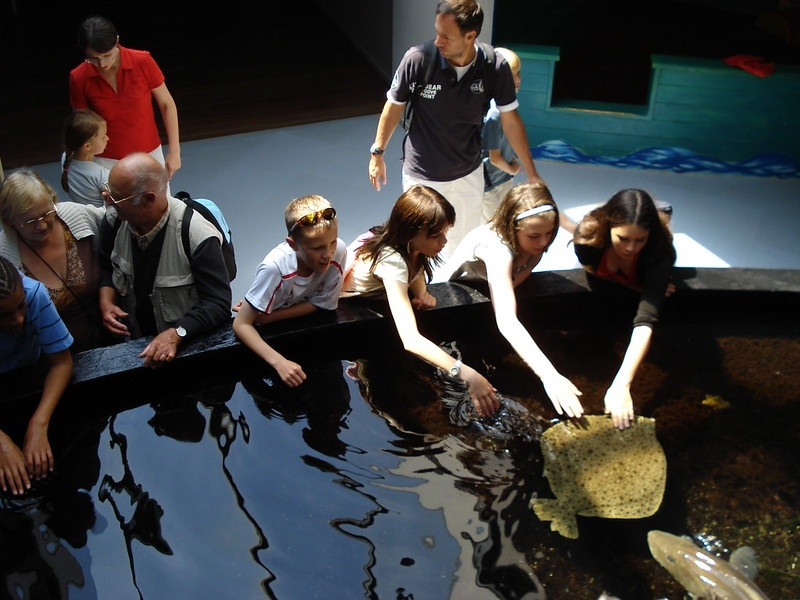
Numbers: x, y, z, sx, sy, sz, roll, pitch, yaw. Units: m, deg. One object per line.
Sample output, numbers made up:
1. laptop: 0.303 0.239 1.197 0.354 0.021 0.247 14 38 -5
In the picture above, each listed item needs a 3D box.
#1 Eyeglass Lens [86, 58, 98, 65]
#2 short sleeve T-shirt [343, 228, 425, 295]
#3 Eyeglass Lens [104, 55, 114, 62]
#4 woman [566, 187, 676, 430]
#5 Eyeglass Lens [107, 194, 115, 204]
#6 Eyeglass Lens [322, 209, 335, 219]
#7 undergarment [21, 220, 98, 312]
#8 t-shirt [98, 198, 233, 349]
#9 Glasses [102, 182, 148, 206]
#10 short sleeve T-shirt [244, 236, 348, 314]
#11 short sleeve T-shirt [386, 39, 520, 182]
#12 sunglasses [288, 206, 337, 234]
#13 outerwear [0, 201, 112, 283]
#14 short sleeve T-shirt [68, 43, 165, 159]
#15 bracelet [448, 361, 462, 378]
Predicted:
1. Eyeglass Lens: -2.115 -1.651 3.651 0.071 0.018 0.072 7 0 19
2. short sleeve T-shirt: -0.131 -0.148 2.886 0.353 0.349 0.368 30 21 8
3. Eyeglass Lens: -1.993 -1.665 3.630 0.054 0.015 0.054 -8 0 -36
4. woman: 1.204 0.034 2.833 0.551 0.753 1.270 8 68 22
5. Eyeglass Lens: -1.418 -0.504 2.608 0.012 0.052 0.053 -16 11 -13
6. Eyeglass Lens: -0.351 -0.411 2.587 0.052 0.025 0.054 -9 35 -24
7. undergarment: -1.704 -0.185 2.637 0.235 0.411 0.225 -33 69 -18
8. t-shirt: -1.212 -0.132 2.717 0.466 0.530 0.427 25 43 6
9. Glasses: -1.320 -0.517 2.564 0.141 0.043 0.140 -11 35 -14
10. short sleeve T-shirt: -0.525 -0.079 2.675 0.431 0.422 0.224 12 39 -24
11. short sleeve T-shirt: 0.348 -1.259 3.587 0.831 0.873 0.299 4 23 10
12. sunglasses: -0.420 -0.372 2.549 0.223 0.130 0.118 -6 23 -12
13. outerwear: -1.801 -0.358 2.742 0.320 0.521 0.490 13 19 35
14. short sleeve T-shirt: -2.152 -1.407 4.156 0.632 1.157 0.352 -15 51 -23
15. bracelet: 0.267 0.334 2.558 0.046 0.076 0.076 19 59 36
